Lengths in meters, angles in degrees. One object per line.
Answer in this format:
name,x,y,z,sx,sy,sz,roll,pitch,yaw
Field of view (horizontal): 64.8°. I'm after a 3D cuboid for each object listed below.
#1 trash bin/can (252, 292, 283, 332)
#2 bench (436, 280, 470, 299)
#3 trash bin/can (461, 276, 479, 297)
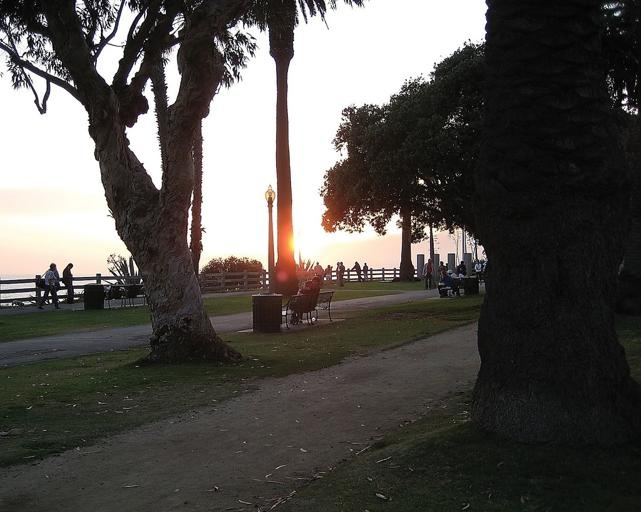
trash bin/can,-1.566,1.628,14.772,0.850,1.415,0.953,0,-5,4
bench,7.355,2.039,28.805,1.390,0.779,1.956,1,1,16
trash bin/can,8.530,1.736,28.768,0.848,1.493,0.950,-3,4,-3
